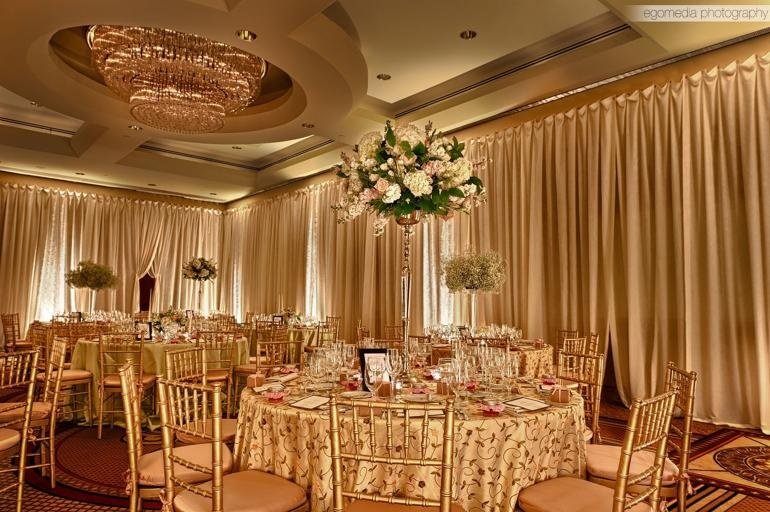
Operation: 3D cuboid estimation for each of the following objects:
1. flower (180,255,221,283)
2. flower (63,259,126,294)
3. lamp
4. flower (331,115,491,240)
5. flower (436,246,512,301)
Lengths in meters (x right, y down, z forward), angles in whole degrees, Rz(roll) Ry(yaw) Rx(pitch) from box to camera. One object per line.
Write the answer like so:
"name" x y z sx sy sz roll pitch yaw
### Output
"flower" -4.622 0.325 13.076 0.683 0.591 0.704 -5 -9 21
"flower" -6.383 0.400 11.478 0.889 0.628 0.666 -5 -9 26
"lamp" -2.953 -2.540 7.287 1.702 0.626 1.716 10 -18 -20
"flower" 0.222 -0.765 5.606 1.296 0.855 1.287 -1 -1 24
"flower" 1.289 0.284 8.155 0.741 0.655 0.774 3 -4 -5
